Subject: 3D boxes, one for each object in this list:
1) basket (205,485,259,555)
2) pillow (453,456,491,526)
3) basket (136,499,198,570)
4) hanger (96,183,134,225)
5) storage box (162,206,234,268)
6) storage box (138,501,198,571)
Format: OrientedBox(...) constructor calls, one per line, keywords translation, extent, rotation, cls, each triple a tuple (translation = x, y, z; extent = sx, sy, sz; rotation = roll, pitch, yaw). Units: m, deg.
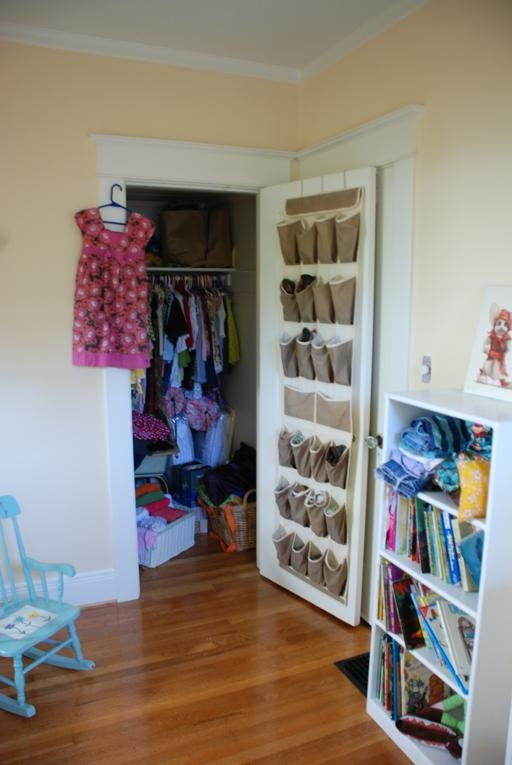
OrientedBox(translation=(-0.134, 0.888, 3.618), extent=(0.292, 0.379, 0.364), rotation=(1, -8, -18), cls="basket")
OrientedBox(translation=(0.590, 0.293, 1.588), extent=(0.042, 0.154, 0.146), rotation=(4, -5, -5), cls="pillow")
OrientedBox(translation=(-0.553, 0.911, 3.463), extent=(0.299, 0.203, 0.305), rotation=(12, 19, 38), cls="basket")
OrientedBox(translation=(-0.664, -0.853, 2.777), extent=(0.102, 0.215, 0.202), rotation=(2, 6, 21), cls="hanger")
OrientedBox(translation=(-0.443, -1.055, 4.335), extent=(0.672, 0.611, 0.390), rotation=(-4, 18, -17), cls="storage box")
OrientedBox(translation=(-0.545, 0.917, 3.447), extent=(0.295, 0.154, 0.302), rotation=(10, 17, 32), cls="storage box")
